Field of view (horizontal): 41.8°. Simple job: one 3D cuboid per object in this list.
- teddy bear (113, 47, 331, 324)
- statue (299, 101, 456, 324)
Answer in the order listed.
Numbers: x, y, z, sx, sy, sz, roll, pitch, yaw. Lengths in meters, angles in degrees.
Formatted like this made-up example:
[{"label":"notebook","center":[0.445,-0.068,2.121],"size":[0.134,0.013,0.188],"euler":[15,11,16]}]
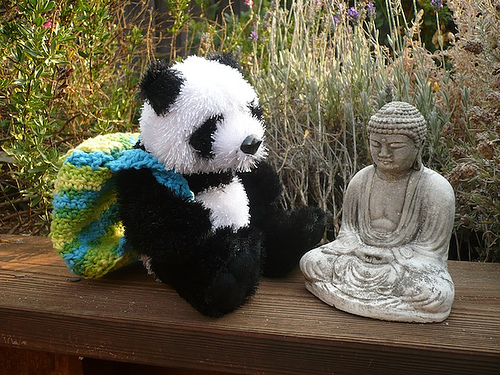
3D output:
[{"label":"teddy bear","center":[-0.136,-0.038,2.991],"size":[0.947,1.105,0.488],"euler":[-4,14,-11]},{"label":"statue","center":[0.632,0.062,3.024],"size":[0.770,0.849,0.646],"euler":[11,19,35]}]
